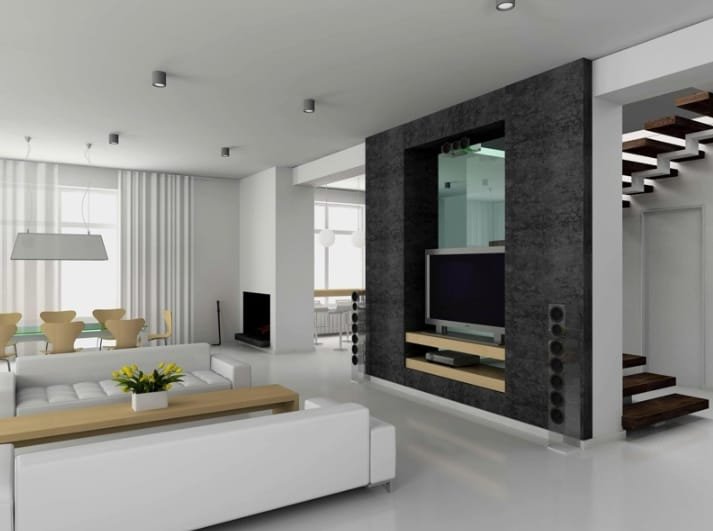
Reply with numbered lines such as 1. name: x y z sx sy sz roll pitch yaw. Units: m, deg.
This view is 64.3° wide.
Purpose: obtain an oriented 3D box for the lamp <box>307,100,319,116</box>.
1. lamp: -0.489 -1.791 6.417 0.126 0.102 0.115 0 -8 -2

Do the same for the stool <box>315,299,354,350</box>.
1. stool: -0.374 1.183 11.492 1.116 0.951 0.776 1 -2 -30

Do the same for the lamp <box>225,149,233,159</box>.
1. lamp: -1.939 -1.706 8.569 0.127 0.101 0.115 -1 -9 3

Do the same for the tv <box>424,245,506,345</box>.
1. tv: 1.272 0.353 6.499 0.246 1.001 1.357 2 -2 -31

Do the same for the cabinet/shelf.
1. cabinet/shelf: 1.232 1.054 6.530 0.386 0.359 1.513 -3 2 -36

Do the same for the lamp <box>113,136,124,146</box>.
1. lamp: -3.272 -1.724 7.780 0.142 0.108 0.129 0 -7 -1
